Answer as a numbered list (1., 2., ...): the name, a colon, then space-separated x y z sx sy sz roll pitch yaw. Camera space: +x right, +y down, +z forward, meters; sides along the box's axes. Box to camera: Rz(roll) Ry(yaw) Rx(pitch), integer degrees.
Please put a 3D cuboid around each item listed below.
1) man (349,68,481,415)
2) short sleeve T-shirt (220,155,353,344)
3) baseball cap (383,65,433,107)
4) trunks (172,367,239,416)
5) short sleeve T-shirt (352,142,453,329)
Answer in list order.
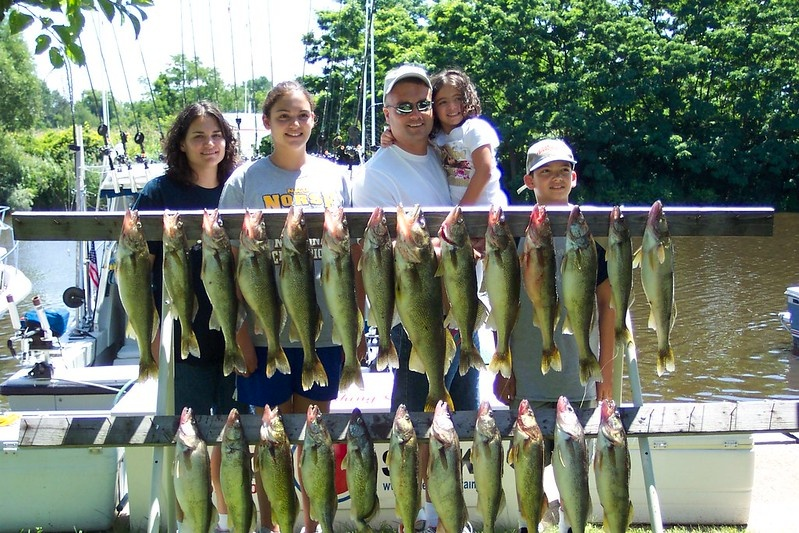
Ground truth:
1. man: 0.111 -0.352 7.236 1.147 3.149 0.991 -1 -20 -8
2. short sleeve T-shirt: -0.905 -0.082 6.543 1.411 1.768 0.614 0 -13 -10
3. baseball cap: 0.068 -1.587 7.210 0.269 0.384 0.372 1 -14 -9
4. trunks: -1.711 1.074 7.243 0.474 0.368 0.257 1 24 -31
5. short sleeve T-shirt: -0.011 -0.406 7.397 0.730 1.967 0.578 4 -4 -3
